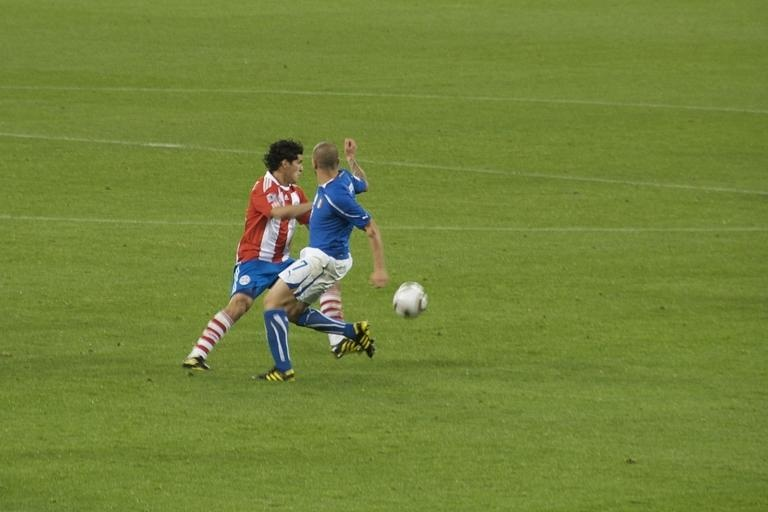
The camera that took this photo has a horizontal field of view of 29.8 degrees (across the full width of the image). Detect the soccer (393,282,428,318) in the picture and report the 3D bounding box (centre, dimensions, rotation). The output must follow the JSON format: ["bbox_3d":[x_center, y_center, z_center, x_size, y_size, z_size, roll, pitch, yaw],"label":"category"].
[{"bbox_3d":[0.309,0.626,20.482,0.483,0.486,0.493,-9,6,-21],"label":"soccer"}]

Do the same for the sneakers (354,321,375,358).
[{"bbox_3d":[-0.327,1.187,20.568,0.266,0.568,0.196,-18,34,-1],"label":"sneakers"}]

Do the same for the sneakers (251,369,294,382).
[{"bbox_3d":[-1.585,1.679,20.313,0.590,0.240,0.197,3,0,6],"label":"sneakers"}]
